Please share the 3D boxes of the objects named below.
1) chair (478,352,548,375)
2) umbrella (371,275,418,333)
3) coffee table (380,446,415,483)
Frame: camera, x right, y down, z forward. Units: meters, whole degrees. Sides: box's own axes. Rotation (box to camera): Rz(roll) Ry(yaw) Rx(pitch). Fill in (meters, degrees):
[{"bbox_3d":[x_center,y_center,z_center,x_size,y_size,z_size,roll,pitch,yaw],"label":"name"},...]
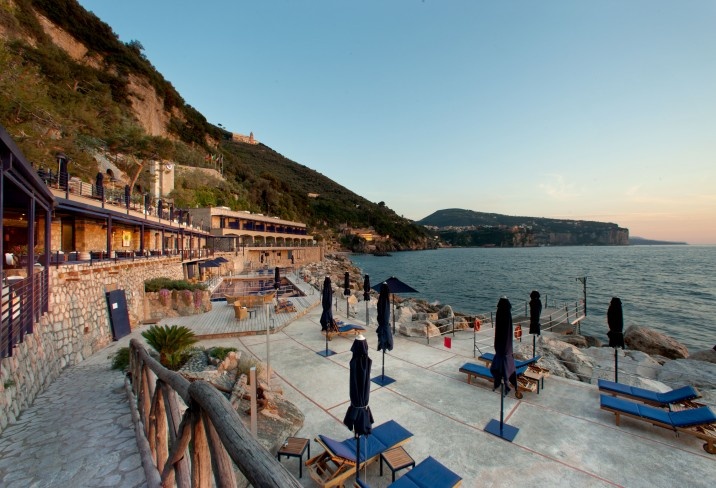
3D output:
[{"bbox_3d":[6.693,5.167,17.449,1.359,0.714,2.358,1,4,-32],"label":"chair"},{"bbox_3d":[2.336,3.263,22.300,3.450,2.908,3.070,-2,2,7],"label":"umbrella"},{"bbox_3d":[1.263,7.311,13.130,1.046,0.963,0.986,-6,14,-29],"label":"coffee table"}]
